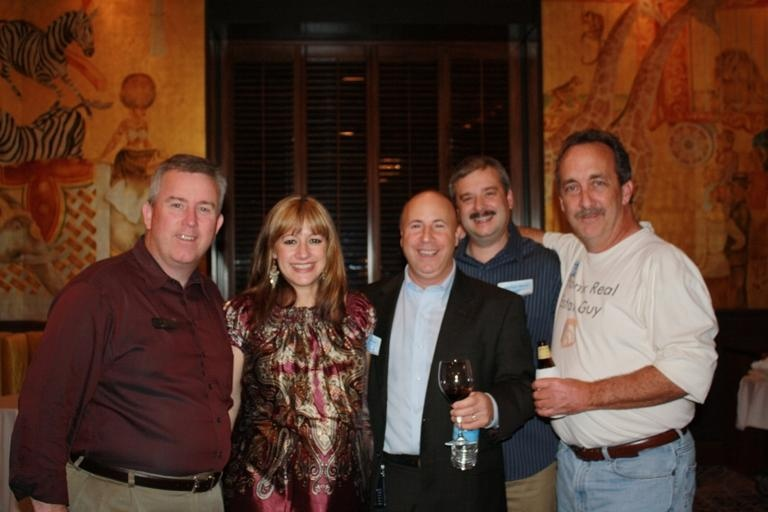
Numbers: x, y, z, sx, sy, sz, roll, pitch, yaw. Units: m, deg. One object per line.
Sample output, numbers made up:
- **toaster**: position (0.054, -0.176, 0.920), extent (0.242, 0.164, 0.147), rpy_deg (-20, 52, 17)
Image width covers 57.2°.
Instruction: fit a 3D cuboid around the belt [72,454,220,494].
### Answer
- **belt**: position (-1.409, 1.295, 4.183), extent (0.824, 0.237, 0.087), rpy_deg (-2, 0, -13)
